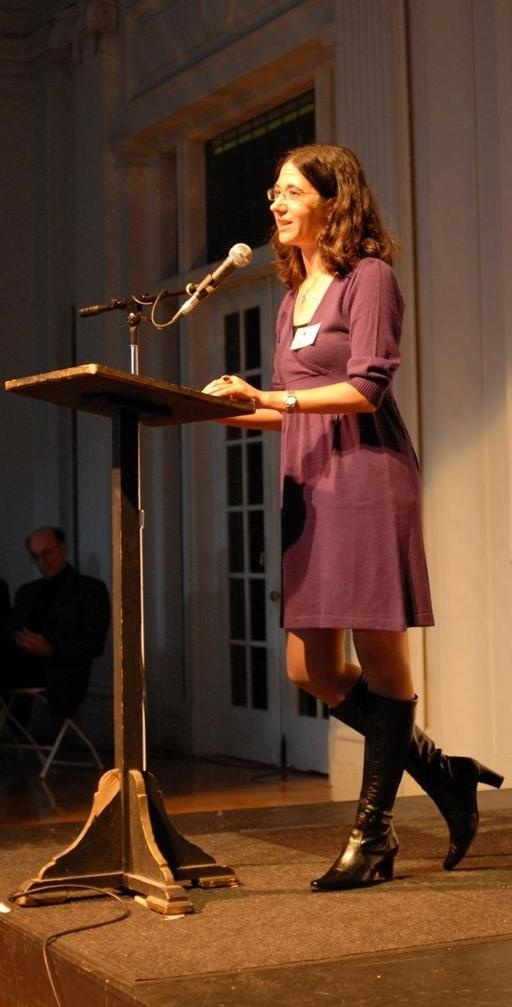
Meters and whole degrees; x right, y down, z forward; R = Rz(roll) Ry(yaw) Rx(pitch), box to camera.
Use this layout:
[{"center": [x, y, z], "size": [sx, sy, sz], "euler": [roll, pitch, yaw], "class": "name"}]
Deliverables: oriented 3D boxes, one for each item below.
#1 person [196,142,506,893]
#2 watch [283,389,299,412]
[{"center": [0.172, 0.007, 2.294], "size": [0.484, 1.449, 0.476], "euler": [-1, -5, 9], "class": "person"}, {"center": [0.064, -0.181, 2.127], "size": [0.029, 0.035, 0.034], "euler": [0, 1, -5], "class": "watch"}]
